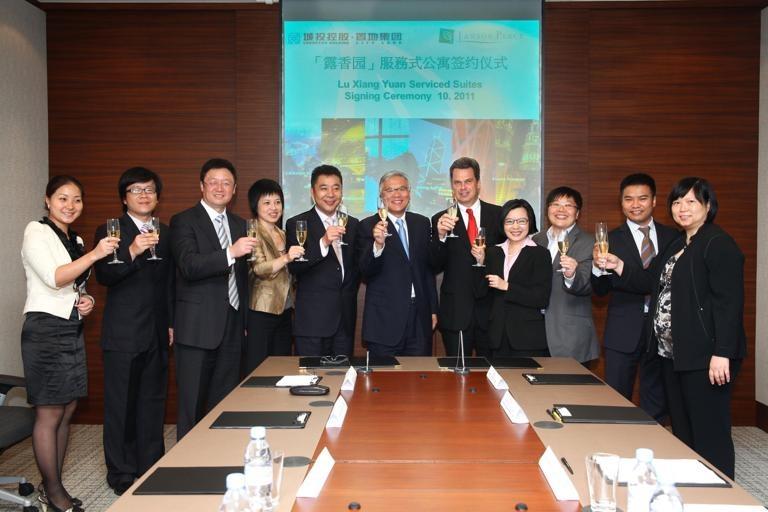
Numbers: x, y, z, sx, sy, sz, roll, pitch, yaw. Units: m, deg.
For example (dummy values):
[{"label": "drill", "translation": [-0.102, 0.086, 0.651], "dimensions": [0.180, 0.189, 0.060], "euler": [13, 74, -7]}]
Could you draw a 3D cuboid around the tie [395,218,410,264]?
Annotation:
[{"label": "tie", "translation": [0.169, -0.158, 5.494], "dimensions": [0.104, 0.400, 0.049], "euler": [-8, -20, -11]}]

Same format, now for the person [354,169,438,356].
[{"label": "person", "translation": [0.152, 0.070, 5.424], "dimensions": [0.769, 1.717, 0.465], "euler": [-2, 9, -12]}]

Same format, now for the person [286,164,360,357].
[{"label": "person", "translation": [-0.570, 0.052, 5.258], "dimensions": [0.686, 1.794, 0.848], "euler": [0, 8, -3]}]

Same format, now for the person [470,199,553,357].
[{"label": "person", "translation": [1.157, 0.201, 5.157], "dimensions": [0.675, 1.403, 0.615], "euler": [2, 9, 13]}]
